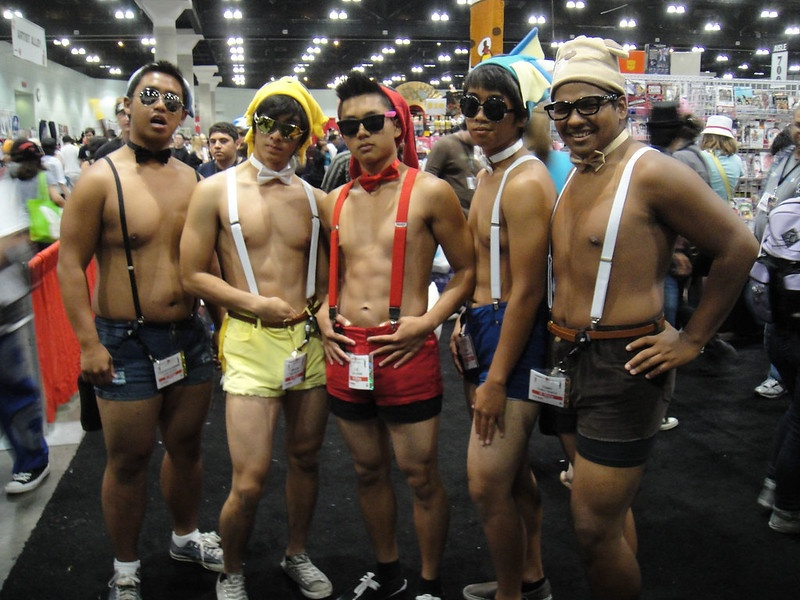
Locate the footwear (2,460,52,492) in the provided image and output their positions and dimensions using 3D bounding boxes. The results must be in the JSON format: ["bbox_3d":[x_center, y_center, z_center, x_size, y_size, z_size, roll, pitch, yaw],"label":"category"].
[{"bbox_3d":[-2.398,1.141,4.026,0.114,0.128,0.330,0,-2,4],"label":"footwear"}]

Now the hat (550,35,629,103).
[{"bbox_3d":[0.793,-0.983,2.651,0.261,0.262,0.321,-2,3,35],"label":"hat"}]

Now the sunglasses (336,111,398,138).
[{"bbox_3d":[-0.148,-0.828,2.891,0.277,0.113,0.132,-1,16,-2],"label":"sunglasses"}]

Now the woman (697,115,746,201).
[{"bbox_3d":[3.562,-1.541,6.610,0.289,0.898,0.274,-25,18,-16],"label":"woman"}]

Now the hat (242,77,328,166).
[{"bbox_3d":[-0.588,-0.998,3.270,0.402,0.413,0.391,12,54,-11],"label":"hat"}]

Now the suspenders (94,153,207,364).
[{"bbox_3d":[-1.301,-0.197,3.023,0.135,0.952,0.377,-12,19,-35],"label":"suspenders"}]

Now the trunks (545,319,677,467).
[{"bbox_3d":[0.799,0.363,2.720,0.545,0.598,0.432,3,13,37],"label":"trunks"}]

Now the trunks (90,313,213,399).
[{"bbox_3d":[-1.245,0.255,3.215,0.570,0.410,0.360,-7,6,-39],"label":"trunks"}]

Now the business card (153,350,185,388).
[{"bbox_3d":[-1.139,0.331,3.055,0.021,0.138,0.156,4,18,36],"label":"business card"}]

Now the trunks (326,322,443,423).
[{"bbox_3d":[-0.094,0.318,3.029,0.559,0.511,0.376,-1,7,17],"label":"trunks"}]

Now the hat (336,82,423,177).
[{"bbox_3d":[-0.048,-0.801,2.975,0.280,0.318,0.093,8,28,36],"label":"hat"}]

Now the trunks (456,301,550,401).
[{"bbox_3d":[0.468,0.275,2.954,0.335,0.494,0.519,8,-13,-24],"label":"trunks"}]

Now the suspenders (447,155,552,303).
[{"bbox_3d":[0.497,-0.327,2.798,0.108,0.645,0.274,12,20,38],"label":"suspenders"}]

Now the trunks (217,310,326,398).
[{"bbox_3d":[-0.608,0.200,3.137,0.525,0.522,0.330,-6,29,-21],"label":"trunks"}]

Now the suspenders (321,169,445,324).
[{"bbox_3d":[-0.137,-0.264,2.938,0.402,0.697,0.311,5,16,17],"label":"suspenders"}]

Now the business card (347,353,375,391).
[{"bbox_3d":[-0.182,0.340,2.840,0.129,0.190,0.077,3,16,12],"label":"business card"}]

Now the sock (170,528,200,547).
[{"bbox_3d":[-1.155,1.290,3.350,0.171,0.079,0.065,-2,17,-17],"label":"sock"}]

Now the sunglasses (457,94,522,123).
[{"bbox_3d":[0.393,-0.867,2.772,0.248,0.122,0.116,1,16,7],"label":"sunglasses"}]
